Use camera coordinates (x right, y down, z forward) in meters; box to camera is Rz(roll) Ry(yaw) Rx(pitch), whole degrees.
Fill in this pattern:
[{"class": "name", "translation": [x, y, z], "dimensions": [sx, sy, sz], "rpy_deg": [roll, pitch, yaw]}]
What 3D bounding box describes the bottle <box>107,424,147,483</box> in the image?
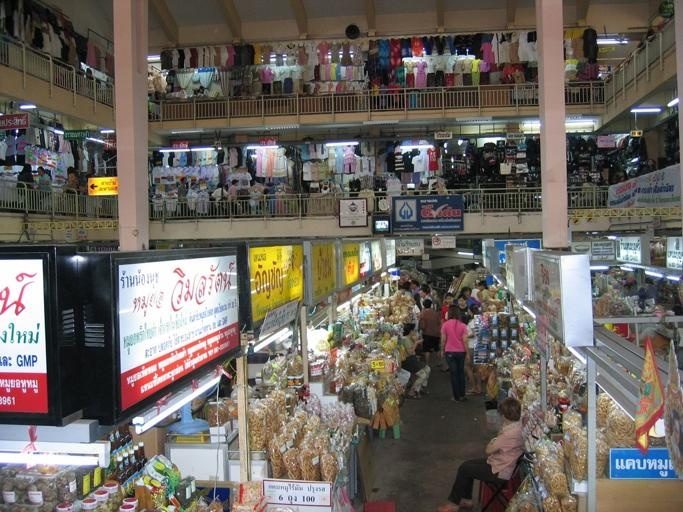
[{"class": "bottle", "translation": [-1.679, 1.507, 4.519], "dimensions": [0.284, 0.288, 0.369], "rpy_deg": [0, 2, 43]}]
